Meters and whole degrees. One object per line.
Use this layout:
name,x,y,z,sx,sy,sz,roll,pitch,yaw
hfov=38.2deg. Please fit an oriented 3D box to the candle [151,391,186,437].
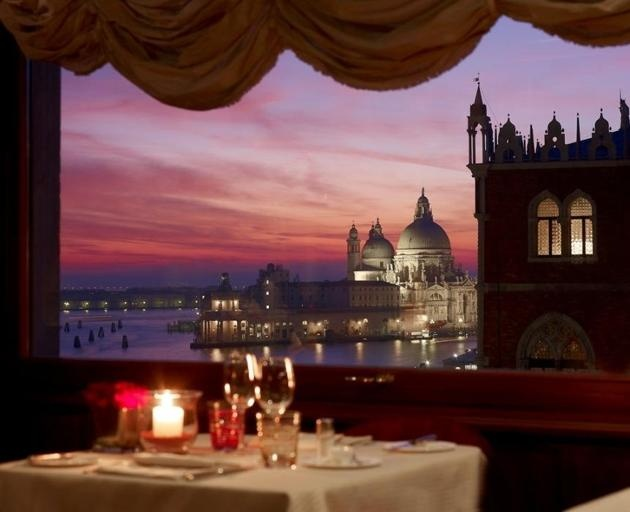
candle,-0.468,0.519,3.020,0.121,0.210,0.129,0,1,1

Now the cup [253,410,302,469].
cup,-0.111,0.581,2.829,0.148,0.174,0.157,0,-7,0

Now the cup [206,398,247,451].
cup,-0.289,0.558,2.961,0.143,0.169,0.146,0,-7,0

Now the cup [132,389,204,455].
cup,-0.468,0.534,2.926,0.188,0.152,0.192,1,-7,0

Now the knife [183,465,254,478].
knife,-0.299,0.662,2.766,0.212,0.012,0.070,-4,14,-21

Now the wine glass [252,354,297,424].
wine glass,-0.107,0.433,2.976,0.151,0.258,0.154,-5,-9,30
